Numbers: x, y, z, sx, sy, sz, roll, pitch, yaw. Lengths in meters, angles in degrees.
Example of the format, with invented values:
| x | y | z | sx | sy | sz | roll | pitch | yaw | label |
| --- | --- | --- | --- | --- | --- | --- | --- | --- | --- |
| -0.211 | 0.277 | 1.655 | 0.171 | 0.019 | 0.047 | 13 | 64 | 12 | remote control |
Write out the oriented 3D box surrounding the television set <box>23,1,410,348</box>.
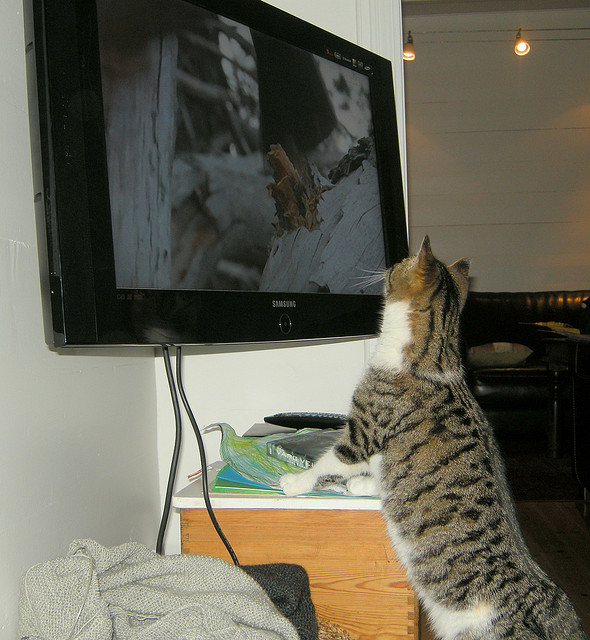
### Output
| x | y | z | sx | sy | sz | roll | pitch | yaw | label |
| --- | --- | --- | --- | --- | --- | --- | --- | --- | --- |
| -0.149 | -0.252 | 1.258 | 0.107 | 0.544 | 0.889 | -5 | 0 | 39 | television set |
